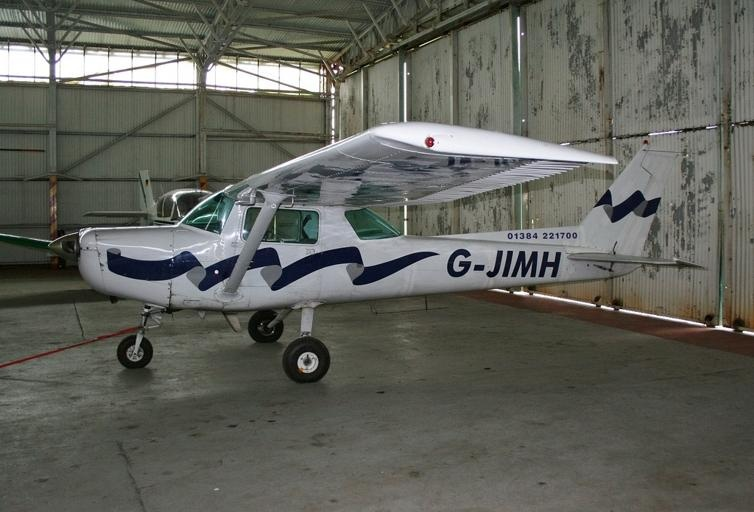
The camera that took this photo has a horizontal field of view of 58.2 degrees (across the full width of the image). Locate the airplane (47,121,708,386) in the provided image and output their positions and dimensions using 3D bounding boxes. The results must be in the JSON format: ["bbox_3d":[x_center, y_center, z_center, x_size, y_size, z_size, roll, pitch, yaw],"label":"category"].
[{"bbox_3d":[0.024,-0.151,7.992,5.015,1.425,5.213,1,-3,-13],"label":"airplane"}]
